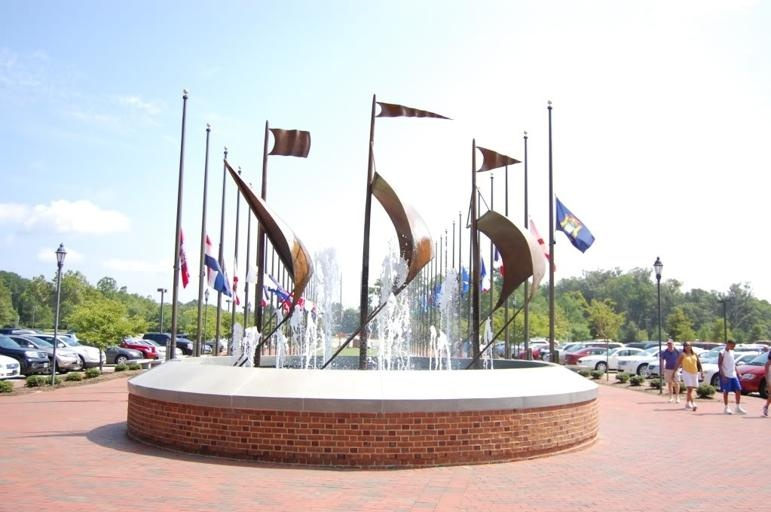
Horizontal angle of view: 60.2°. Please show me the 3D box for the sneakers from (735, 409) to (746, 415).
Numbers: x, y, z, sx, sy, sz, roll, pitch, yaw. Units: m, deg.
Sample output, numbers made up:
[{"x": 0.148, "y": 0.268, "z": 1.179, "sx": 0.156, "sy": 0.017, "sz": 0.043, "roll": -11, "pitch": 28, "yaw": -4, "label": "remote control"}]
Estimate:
[{"x": 11.006, "y": 4.848, "z": 20.693, "sx": 0.284, "sy": 0.143, "sz": 0.155, "roll": 3, "pitch": -3, "yaw": -17, "label": "sneakers"}]

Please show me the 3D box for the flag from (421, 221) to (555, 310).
[{"x": 3.711, "y": 0.212, "z": 19.437, "sx": 1.729, "sy": 2.569, "sz": 2.537, "roll": -1, "pitch": -10, "yaw": 20, "label": "flag"}]

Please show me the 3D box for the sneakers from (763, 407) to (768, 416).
[{"x": 11.424, "y": 4.696, "z": 20.102, "sx": 0.115, "sy": 0.293, "sz": 0.323, "roll": -2, "pitch": -11, "yaw": 24, "label": "sneakers"}]
